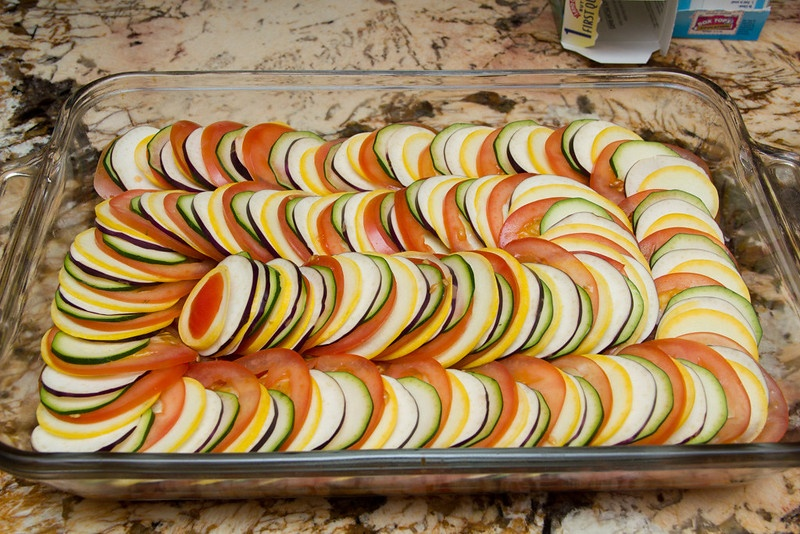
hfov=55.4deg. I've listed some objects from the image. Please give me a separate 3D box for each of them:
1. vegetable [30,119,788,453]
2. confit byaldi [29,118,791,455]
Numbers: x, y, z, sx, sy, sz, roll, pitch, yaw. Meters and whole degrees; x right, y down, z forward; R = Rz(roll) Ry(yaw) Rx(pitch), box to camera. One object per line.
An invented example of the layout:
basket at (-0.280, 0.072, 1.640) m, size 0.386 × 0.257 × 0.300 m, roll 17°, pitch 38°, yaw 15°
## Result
vegetable at (0.017, 0.021, 2.695) m, size 2.416 × 0.350 × 1.276 m, roll 0°, pitch 51°, yaw -1°
confit byaldi at (-0.020, 0.118, 2.612) m, size 2.542 × 0.367 × 0.954 m, roll -1°, pitch 73°, yaw 0°
